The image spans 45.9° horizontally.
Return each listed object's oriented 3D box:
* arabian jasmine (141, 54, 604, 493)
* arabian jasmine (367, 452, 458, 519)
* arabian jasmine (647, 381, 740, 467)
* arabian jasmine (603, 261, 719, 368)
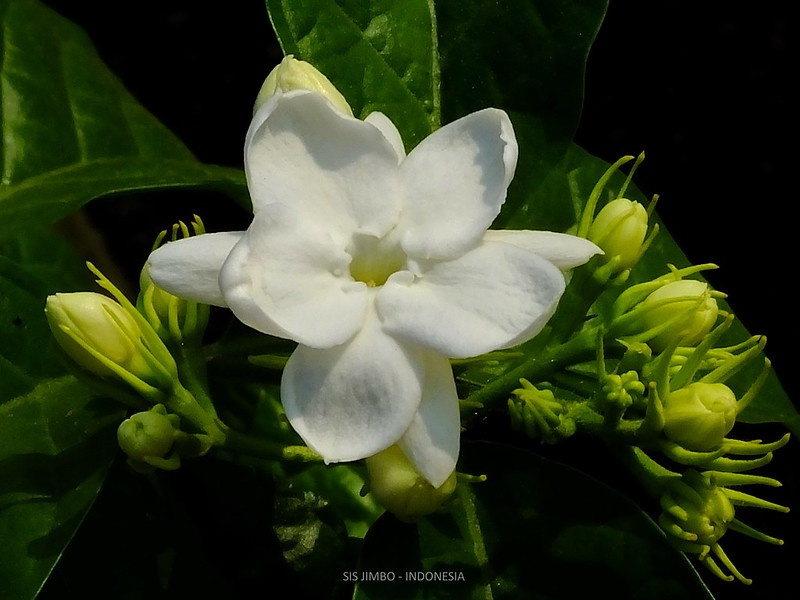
[{"bbox_3d":[-0.018,-0.032,1.592,0.556,0.275,0.628,12,71,5],"label":"arabian jasmine"},{"bbox_3d":[0.008,0.315,1.727,0.111,0.119,0.131,0,55,-30],"label":"arabian jasmine"},{"bbox_3d":[0.492,0.210,1.643,0.143,0.083,0.141,13,79,-25],"label":"arabian jasmine"},{"bbox_3d":[0.519,0.016,1.740,0.105,0.212,0.195,-42,77,-11],"label":"arabian jasmine"}]
